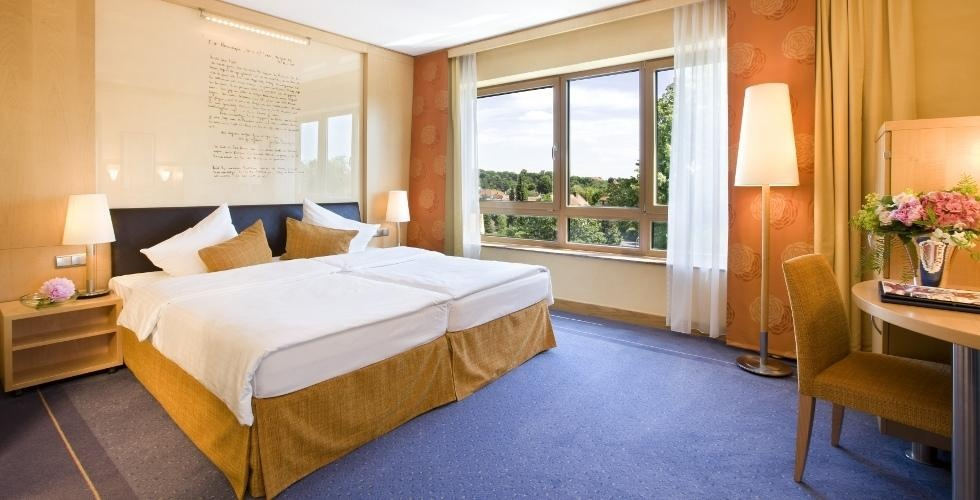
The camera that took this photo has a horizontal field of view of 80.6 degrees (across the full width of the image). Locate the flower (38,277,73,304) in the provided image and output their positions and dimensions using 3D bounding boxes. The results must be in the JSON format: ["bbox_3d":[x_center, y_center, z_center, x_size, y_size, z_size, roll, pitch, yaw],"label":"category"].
[{"bbox_3d":[-4.640,0.420,6.208,0.298,0.191,0.283,24,9,-24],"label":"flower"}]

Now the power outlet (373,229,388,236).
[{"bbox_3d":[-1.620,-0.269,8.689,0.110,0.088,0.202,-1,-3,34],"label":"power outlet"}]

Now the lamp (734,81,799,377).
[{"bbox_3d":[3.101,-0.241,6.515,0.637,3.248,0.809,0,11,16],"label":"lamp"}]
